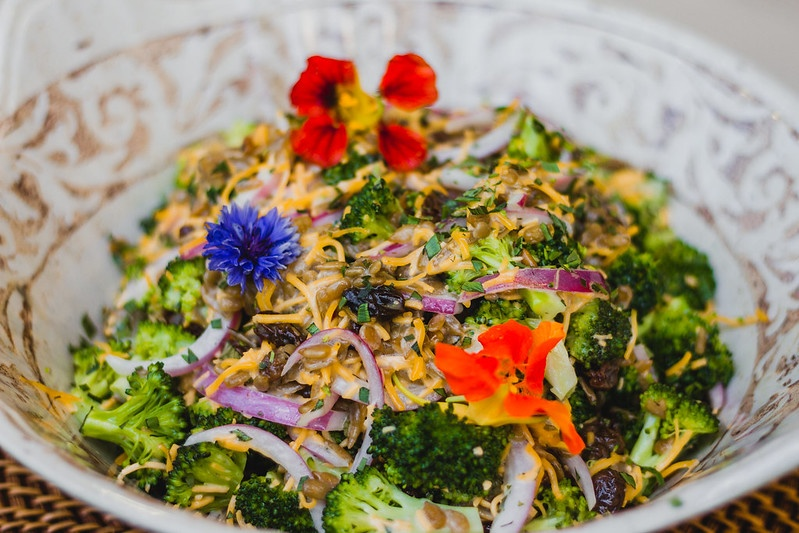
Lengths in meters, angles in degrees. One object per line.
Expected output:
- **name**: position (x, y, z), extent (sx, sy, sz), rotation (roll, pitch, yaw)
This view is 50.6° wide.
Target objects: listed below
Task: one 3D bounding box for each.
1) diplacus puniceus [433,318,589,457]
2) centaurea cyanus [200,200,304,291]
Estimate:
- **diplacus puniceus**: position (0.354, 0.425, 2.883), extent (0.479, 0.224, 0.443), rotation (0, 61, -6)
- **centaurea cyanus**: position (-0.549, -0.069, 3.075), extent (0.332, 0.139, 0.316), rotation (-27, 79, -22)
